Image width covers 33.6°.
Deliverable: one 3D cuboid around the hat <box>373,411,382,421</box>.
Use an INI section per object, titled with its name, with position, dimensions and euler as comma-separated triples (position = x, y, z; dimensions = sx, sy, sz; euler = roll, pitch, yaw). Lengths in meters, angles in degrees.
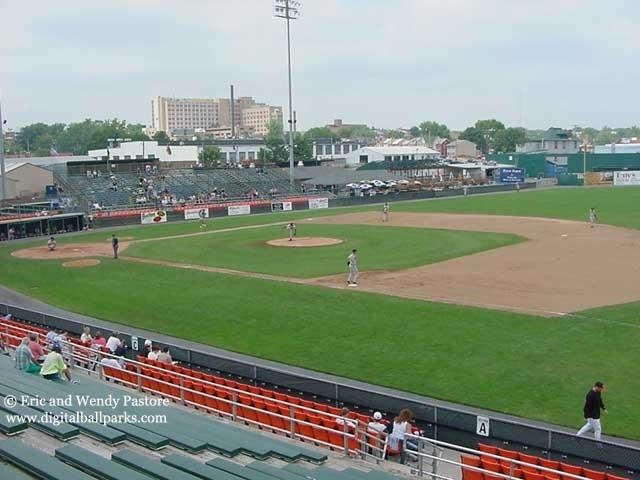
[hat]
position = 2.484, 7.783, 46.631
dimensions = 0.399, 0.184, 0.523
euler = 2, 9, 8
